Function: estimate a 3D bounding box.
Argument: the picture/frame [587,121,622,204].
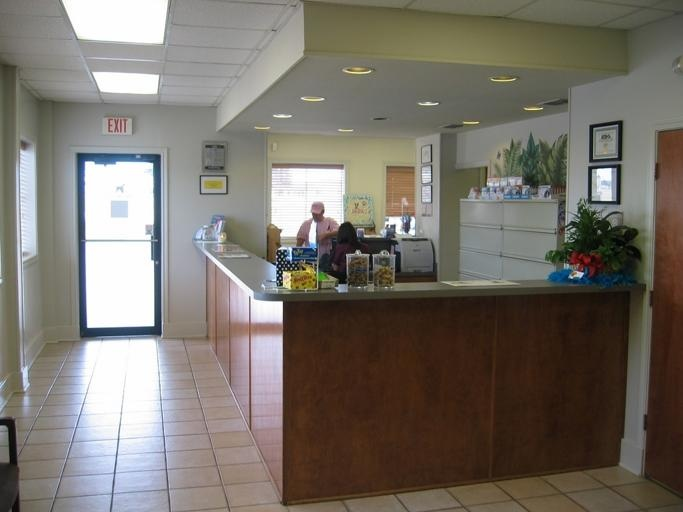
[{"bbox_3d":[2.027,-0.716,4.214,0.069,0.636,0.292,-2,7,-25],"label":"picture/frame"}]

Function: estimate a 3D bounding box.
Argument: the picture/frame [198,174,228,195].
[{"bbox_3d":[-1.823,-1.008,7.589,0.294,0.229,0.019,0,-3,-21],"label":"picture/frame"}]

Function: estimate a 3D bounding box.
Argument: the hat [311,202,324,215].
[{"bbox_3d":[-0.363,-0.706,7.910,0.165,0.164,0.127,0,6,-4],"label":"hat"}]

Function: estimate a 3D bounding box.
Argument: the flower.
[{"bbox_3d":[1.882,-0.069,4.263,0.654,0.623,0.591,0,-1,-3],"label":"flower"}]

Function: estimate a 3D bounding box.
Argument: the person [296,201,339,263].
[{"bbox_3d":[-0.386,-0.336,8.046,0.675,0.911,0.536,0,8,-3],"label":"person"}]

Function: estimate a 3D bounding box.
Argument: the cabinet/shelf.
[{"bbox_3d":[2.007,-0.052,6.395,0.454,1.285,1.358,-7,10,-35],"label":"cabinet/shelf"}]
